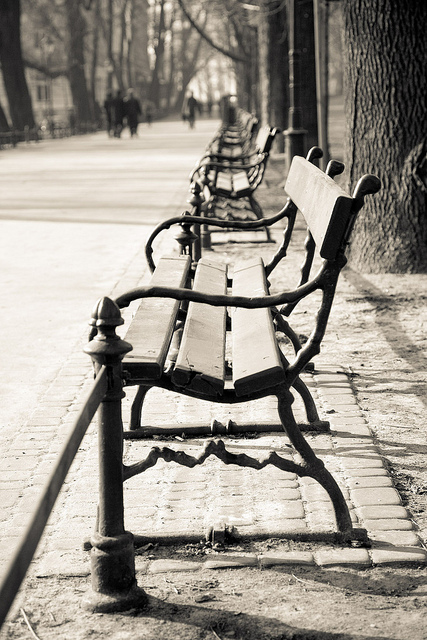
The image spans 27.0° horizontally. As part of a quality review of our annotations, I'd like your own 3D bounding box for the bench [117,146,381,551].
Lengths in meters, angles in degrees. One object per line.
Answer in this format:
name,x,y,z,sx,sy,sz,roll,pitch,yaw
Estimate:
bench,0.209,0.081,4.376,1.019,1.186,2.705,1,6,3
